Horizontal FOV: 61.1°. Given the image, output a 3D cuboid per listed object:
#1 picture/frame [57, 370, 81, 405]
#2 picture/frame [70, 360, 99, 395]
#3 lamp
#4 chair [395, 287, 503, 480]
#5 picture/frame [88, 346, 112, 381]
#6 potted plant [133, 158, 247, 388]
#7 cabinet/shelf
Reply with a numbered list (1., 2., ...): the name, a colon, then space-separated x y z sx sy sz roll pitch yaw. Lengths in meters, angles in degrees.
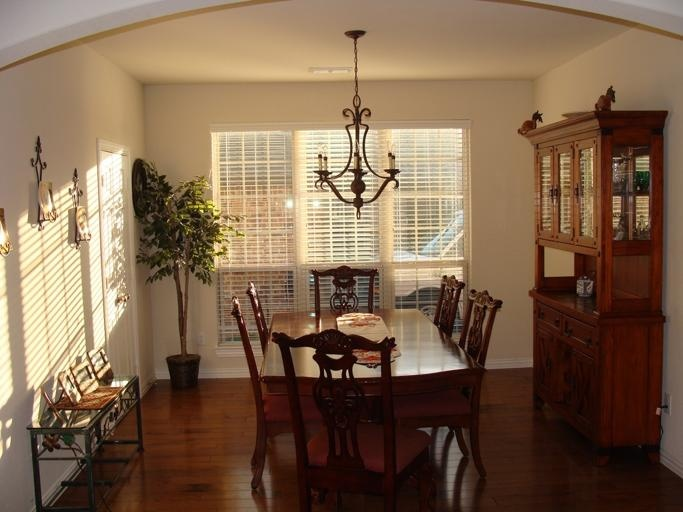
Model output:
1. picture/frame: -1.823 0.896 3.907 0.020 0.212 0.164 -20 16 11
2. picture/frame: -1.795 0.870 4.073 0.019 0.186 0.157 -24 16 7
3. lamp: 0.121 -1.006 4.359 0.616 1.365 0.636 -1 2 -2
4. chair: 0.672 0.874 4.089 0.733 1.224 0.763 -4 8 -3
5. picture/frame: -1.800 0.816 4.328 0.022 0.200 0.168 -20 21 6
6. potted plant: -1.506 0.161 5.789 0.972 2.320 0.763 -4 5 -15
7. cabinet/shelf: 1.874 0.177 4.422 0.532 2.439 1.010 -5 5 -24
